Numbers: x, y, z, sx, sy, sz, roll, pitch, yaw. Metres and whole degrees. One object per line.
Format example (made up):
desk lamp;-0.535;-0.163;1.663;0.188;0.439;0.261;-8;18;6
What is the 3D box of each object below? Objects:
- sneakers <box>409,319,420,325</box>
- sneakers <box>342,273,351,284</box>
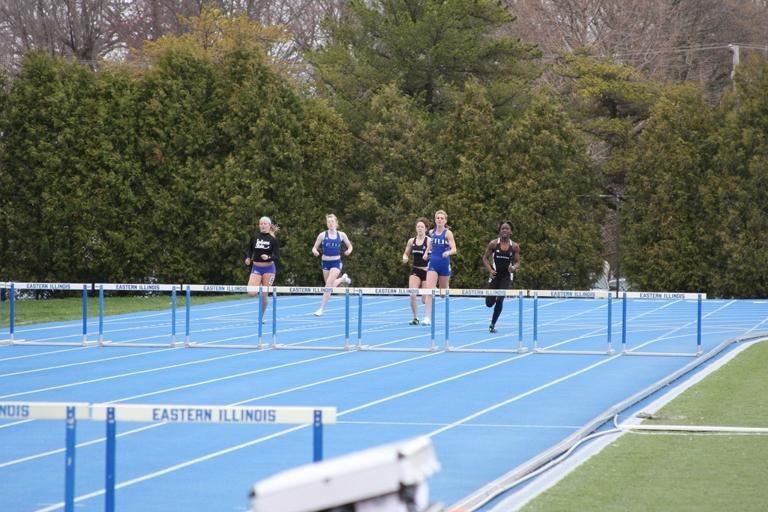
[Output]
sneakers;0.793;1.732;30.043;0.282;0.202;0.108;6;13;14
sneakers;-1.041;0.645;32.784;0.166;0.212;0.501;-5;-27;15
